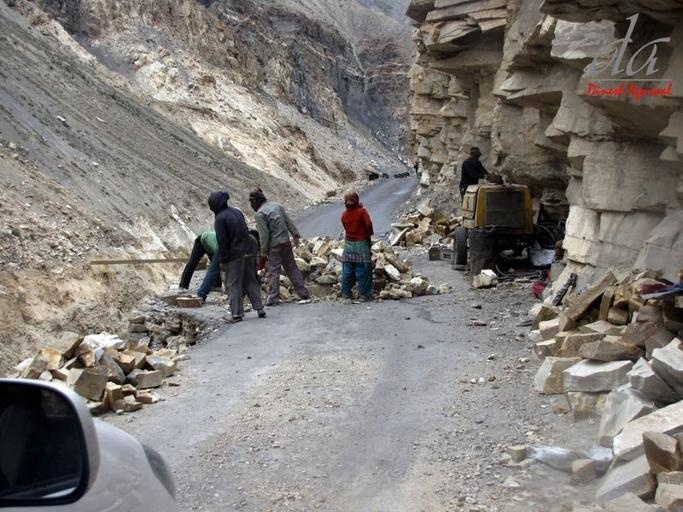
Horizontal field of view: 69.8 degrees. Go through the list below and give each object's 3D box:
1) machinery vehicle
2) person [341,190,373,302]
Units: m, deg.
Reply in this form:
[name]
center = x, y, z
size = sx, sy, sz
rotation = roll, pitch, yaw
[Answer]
[machinery vehicle]
center = 4.037, -0.776, 12.851
size = 2.157, 2.001, 2.853
rotation = 2, 5, 14
[person]
center = 0.295, -0.199, 9.818
size = 0.625, 2.209, 0.720
rotation = -6, 12, -10
